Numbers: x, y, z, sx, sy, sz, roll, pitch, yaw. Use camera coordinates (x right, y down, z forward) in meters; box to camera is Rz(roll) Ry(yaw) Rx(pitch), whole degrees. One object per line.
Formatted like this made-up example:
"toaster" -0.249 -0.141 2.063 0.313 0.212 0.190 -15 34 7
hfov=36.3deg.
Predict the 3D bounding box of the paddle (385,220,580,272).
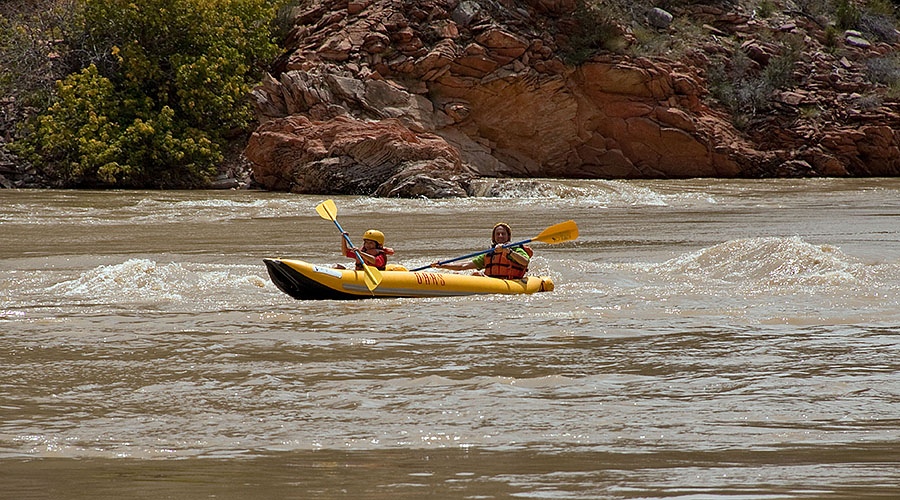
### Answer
"paddle" 1.001 0.079 37.814 5.240 0.738 0.745 -14 38 -7

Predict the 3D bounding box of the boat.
"boat" -0.795 0.963 37.137 7.663 0.820 1.966 2 -5 -17
